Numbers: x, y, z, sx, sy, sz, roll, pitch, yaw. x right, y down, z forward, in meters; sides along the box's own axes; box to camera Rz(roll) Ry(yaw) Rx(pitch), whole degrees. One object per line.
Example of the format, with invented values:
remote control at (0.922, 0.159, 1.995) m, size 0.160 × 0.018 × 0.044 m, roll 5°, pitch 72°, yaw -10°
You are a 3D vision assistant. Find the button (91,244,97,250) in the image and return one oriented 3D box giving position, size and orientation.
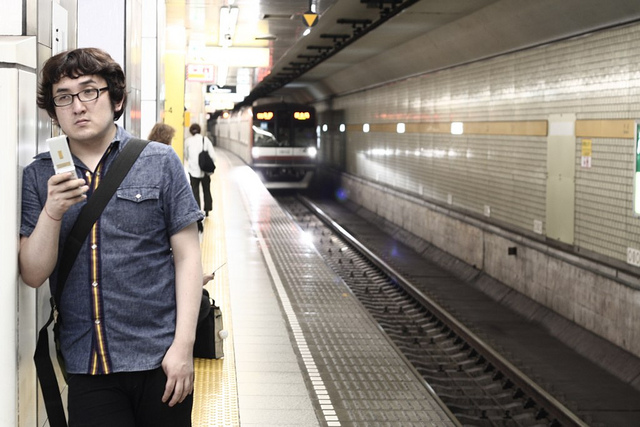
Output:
button at (-0.876, 0.130, 1.714) m, size 0.016 × 0.016 × 0.005 m, roll 10°, pitch 3°, yaw 11°

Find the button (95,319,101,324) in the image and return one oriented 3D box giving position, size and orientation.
button at (-0.874, 0.423, 1.734) m, size 0.018 × 0.019 × 0.004 m, roll 0°, pitch -5°, yaw -14°

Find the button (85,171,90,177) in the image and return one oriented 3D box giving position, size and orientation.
button at (-0.935, -0.157, 1.779) m, size 0.022 × 0.021 × 0.005 m, roll -2°, pitch 0°, yaw -20°

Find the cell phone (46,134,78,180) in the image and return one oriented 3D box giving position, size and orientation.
cell phone at (-0.958, -0.209, 1.623) m, size 0.128 × 0.152 × 0.083 m, roll 13°, pitch 8°, yaw 28°

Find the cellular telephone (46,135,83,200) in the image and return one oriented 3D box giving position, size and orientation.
cellular telephone at (-0.932, -0.160, 1.629) m, size 0.093 × 0.242 × 0.036 m, roll -11°, pitch 8°, yaw 13°

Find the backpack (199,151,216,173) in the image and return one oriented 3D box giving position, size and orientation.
backpack at (-3.070, -1.395, 11.963) m, size 0.491 × 0.638 × 0.268 m, roll -6°, pitch 14°, yaw -9°

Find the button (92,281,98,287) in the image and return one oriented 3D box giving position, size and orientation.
button at (-0.877, 0.276, 1.723) m, size 0.018 × 0.023 × 0.004 m, roll 9°, pitch 6°, yaw -3°

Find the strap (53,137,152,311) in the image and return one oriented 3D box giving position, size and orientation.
strap at (-0.878, 0.045, 1.782) m, size 0.296 × 0.724 × 0.110 m, roll 5°, pitch 8°, yaw -31°

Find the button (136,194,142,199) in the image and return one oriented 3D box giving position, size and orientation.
button at (-0.718, -0.068, 1.747) m, size 0.019 × 0.018 × 0.004 m, roll -1°, pitch -3°, yaw -13°
